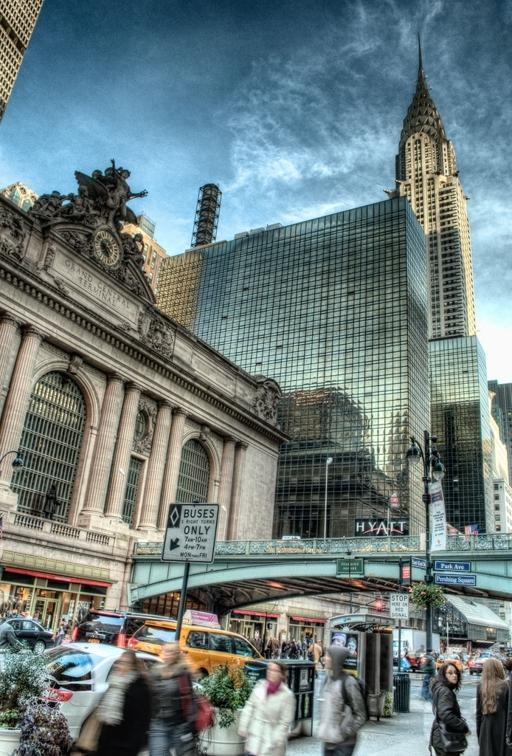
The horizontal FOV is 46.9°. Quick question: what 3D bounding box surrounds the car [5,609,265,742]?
[{"bbox_3d":[-1.941,4.764,9.744,3.927,1.299,1.764,21,-33,-37],"label":"car"}]
